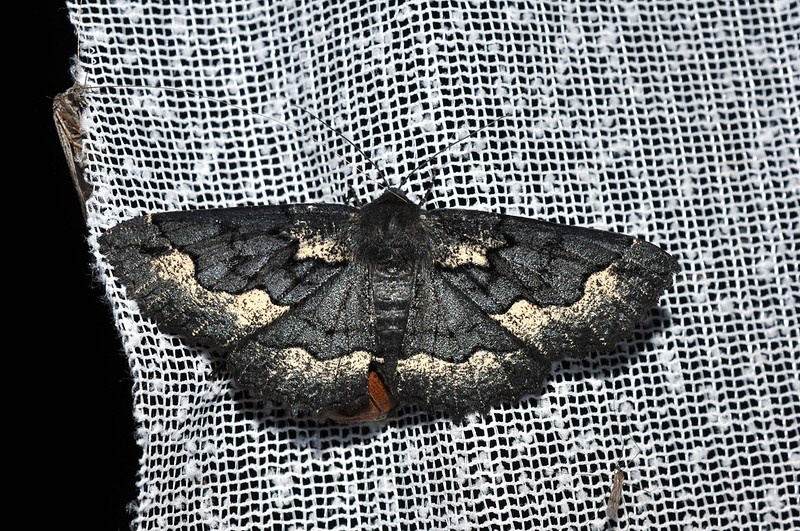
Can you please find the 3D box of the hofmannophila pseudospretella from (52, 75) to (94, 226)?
[{"bbox_3d":[-1.881,-0.676,7.085,0.195,0.595,0.559,-3,-53,-4],"label":"hofmannophila pseudospretella"}]

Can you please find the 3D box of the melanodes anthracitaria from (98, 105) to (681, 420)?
[{"bbox_3d":[-0.017,0.063,7.045,3.156,1.792,0.328,0,-36,-2],"label":"melanodes anthracitaria"}]
